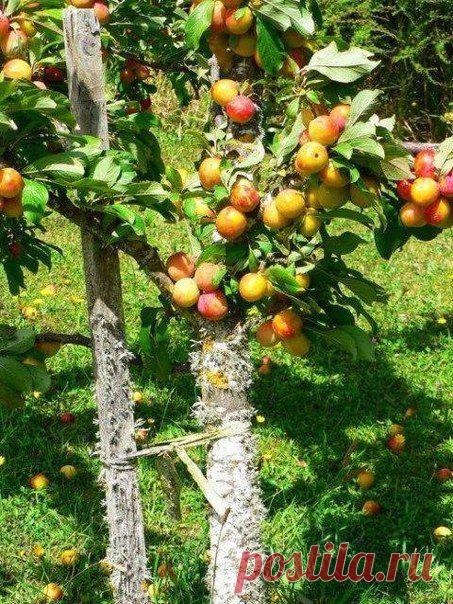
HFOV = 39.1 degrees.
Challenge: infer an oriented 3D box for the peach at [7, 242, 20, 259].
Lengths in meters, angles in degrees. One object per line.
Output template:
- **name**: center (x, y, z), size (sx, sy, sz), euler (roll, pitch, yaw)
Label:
- **peach**: center (-0.793, -0.194, 2.395), size (0.046, 0.045, 0.041), euler (1, 7, -1)
